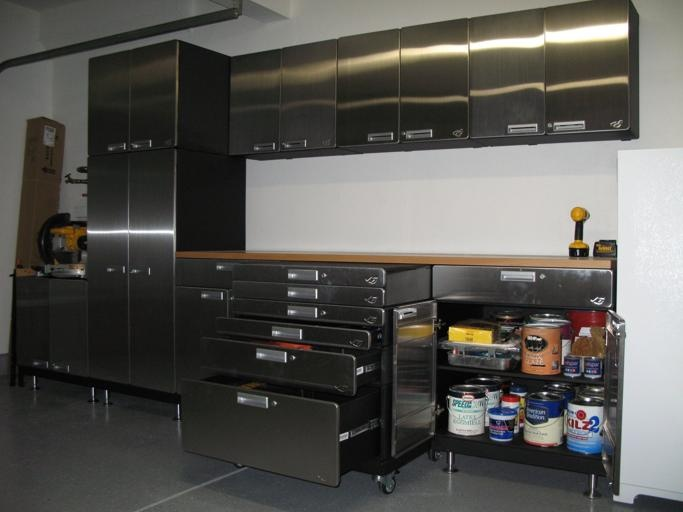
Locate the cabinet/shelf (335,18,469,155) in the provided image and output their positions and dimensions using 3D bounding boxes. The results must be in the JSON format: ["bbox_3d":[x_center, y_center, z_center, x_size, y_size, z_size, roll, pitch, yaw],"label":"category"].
[{"bbox_3d":[0.398,-1.083,3.524,0.924,0.731,0.305,0,-2,24],"label":"cabinet/shelf"}]
